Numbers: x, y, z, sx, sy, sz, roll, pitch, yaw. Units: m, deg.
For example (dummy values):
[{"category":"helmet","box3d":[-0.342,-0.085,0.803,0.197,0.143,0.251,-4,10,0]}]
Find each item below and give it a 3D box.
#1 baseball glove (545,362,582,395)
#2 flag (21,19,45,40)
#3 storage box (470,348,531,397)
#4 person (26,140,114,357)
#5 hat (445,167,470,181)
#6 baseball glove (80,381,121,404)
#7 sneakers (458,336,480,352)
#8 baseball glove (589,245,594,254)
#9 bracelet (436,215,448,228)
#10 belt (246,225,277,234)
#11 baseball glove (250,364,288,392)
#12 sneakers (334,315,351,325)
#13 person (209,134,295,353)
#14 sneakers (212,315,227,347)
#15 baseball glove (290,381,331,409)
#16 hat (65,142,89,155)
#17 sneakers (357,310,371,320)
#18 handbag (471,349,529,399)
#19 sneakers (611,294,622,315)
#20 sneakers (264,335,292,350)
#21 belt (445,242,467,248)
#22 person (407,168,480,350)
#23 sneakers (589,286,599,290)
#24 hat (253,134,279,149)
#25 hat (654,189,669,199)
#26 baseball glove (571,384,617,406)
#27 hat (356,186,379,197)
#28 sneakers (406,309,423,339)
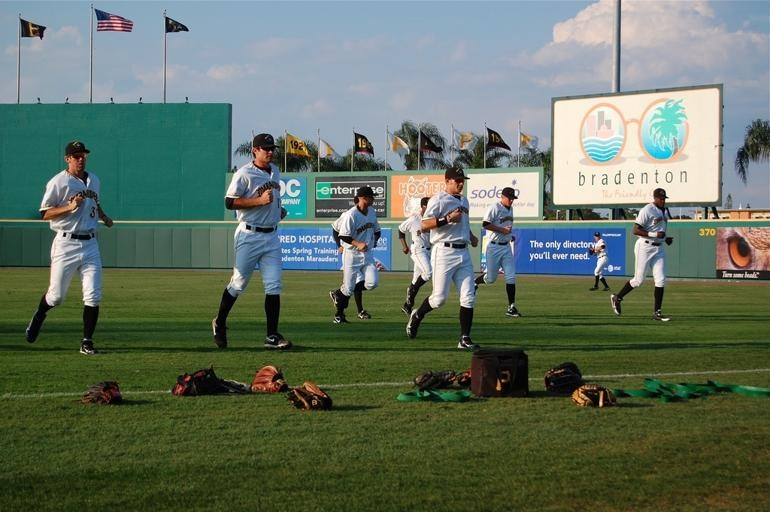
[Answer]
[{"category":"baseball glove","box3d":[2.946,2.043,19.413,0.372,0.575,0.436,-36,60,-20]},{"category":"flag","box3d":[-16.789,-10.793,55.674,1.051,1.081,2.687,0,4,-18]},{"category":"storage box","box3d":[2.162,1.952,19.520,0.847,0.815,1.124,-1,0,-41]},{"category":"person","box3d":[-5.736,-0.153,21.250,1.104,3.803,0.720,1,4,-14]},{"category":"hat","box3d":[1.307,-1.544,21.932,0.346,0.259,0.527,2,4,0]},{"category":"baseball glove","box3d":[-4.553,2.217,18.850,0.505,0.216,0.370,5,5,4]},{"category":"sneakers","box3d":[1.515,1.643,21.793,0.483,0.261,0.183,-6,-7,38]},{"category":"baseball glove","box3d":[7.017,-0.217,40.033,0.131,0.301,0.238,4,6,6]},{"category":"bracelet","box3d":[1.034,-0.648,21.653,0.202,0.170,0.197,-18,22,-39]},{"category":"belt","box3d":[-2.309,-0.504,21.703,0.572,0.150,0.117,0,4,-23]},{"category":"baseball glove","box3d":[-1.918,2.037,19.335,0.618,0.402,0.334,1,4,-5]},{"category":"sneakers","box3d":[-0.951,1.349,24.964,0.375,0.148,0.145,1,3,25]},{"category":"person","box3d":[-2.421,-0.280,21.853,1.320,3.962,1.107,1,4,-7]},{"category":"sneakers","box3d":[-3.051,1.422,21.808,0.220,0.588,0.253,-6,-14,-47]},{"category":"baseball glove","box3d":[-1.215,2.225,18.731,0.445,0.223,0.554,8,-4,-44]},{"category":"hat","box3d":[-5.632,-1.953,21.307,0.323,0.256,0.528,0,4,-19]},{"category":"sneakers","box3d":[-0.479,1.305,25.908,0.134,0.148,0.360,0,0,-37]},{"category":"handbag","box3d":[1.907,1.947,19.592,1.086,0.785,0.773,0,2,10]},{"category":"sneakers","box3d":[5.258,1.116,26.780,0.226,0.441,0.161,-13,9,27]},{"category":"sneakers","box3d":[-2.014,1.594,21.697,0.556,0.236,0.222,-1,-1,20]},{"category":"belt","box3d":[1.333,-0.209,21.953,0.466,0.113,0.140,-1,5,-30]},{"category":"person","box3d":[1.153,-0.008,22.164,1.208,3.366,1.400,2,4,1]},{"category":"sneakers","box3d":[6.257,0.986,35.328,0.279,0.098,0.098,0,-5,-37]},{"category":"hat","box3d":[-2.224,-2.107,21.612,0.319,0.273,0.586,0,4,-28]},{"category":"hat","box3d":[6.039,-1.383,26.094,0.257,0.166,0.330,-1,4,-34]},{"category":"baseball glove","box3d":[3.360,2.242,18.952,0.533,0.192,0.349,1,16,0]},{"category":"hat","box3d":[-0.425,-1.367,25.033,0.401,0.149,0.377,1,2,-3]},{"category":"sneakers","box3d":[0.538,1.328,22.550,0.316,0.606,0.240,10,22,5]}]
